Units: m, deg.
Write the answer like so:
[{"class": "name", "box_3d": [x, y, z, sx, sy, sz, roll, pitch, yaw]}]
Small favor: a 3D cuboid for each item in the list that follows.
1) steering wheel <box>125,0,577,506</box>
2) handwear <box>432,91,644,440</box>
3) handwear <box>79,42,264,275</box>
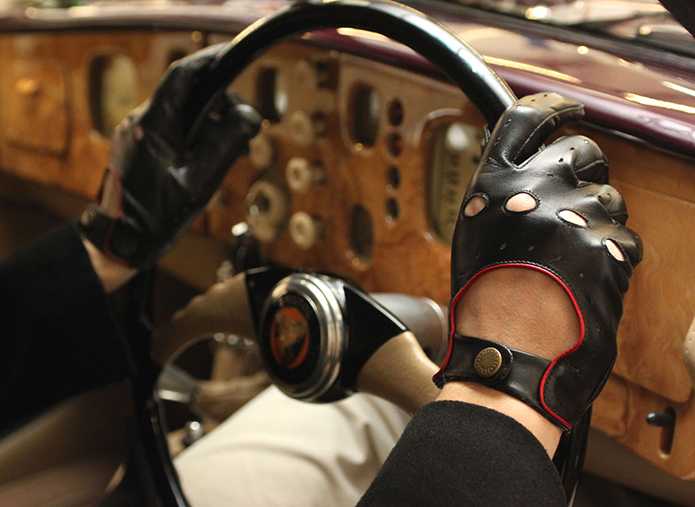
[{"class": "steering wheel", "box_3d": [0.008, -0.005, 0.853, 0.653, 0.081, 0.777, 12, 94, 24]}, {"class": "handwear", "box_3d": [0.186, 0.001, 0.631, 0.177, 0.130, 0.345, 14, 68, 17]}, {"class": "handwear", "box_3d": [-0.228, -0.098, 0.870, 0.167, 0.104, 0.315, 37, 96, 13]}]
